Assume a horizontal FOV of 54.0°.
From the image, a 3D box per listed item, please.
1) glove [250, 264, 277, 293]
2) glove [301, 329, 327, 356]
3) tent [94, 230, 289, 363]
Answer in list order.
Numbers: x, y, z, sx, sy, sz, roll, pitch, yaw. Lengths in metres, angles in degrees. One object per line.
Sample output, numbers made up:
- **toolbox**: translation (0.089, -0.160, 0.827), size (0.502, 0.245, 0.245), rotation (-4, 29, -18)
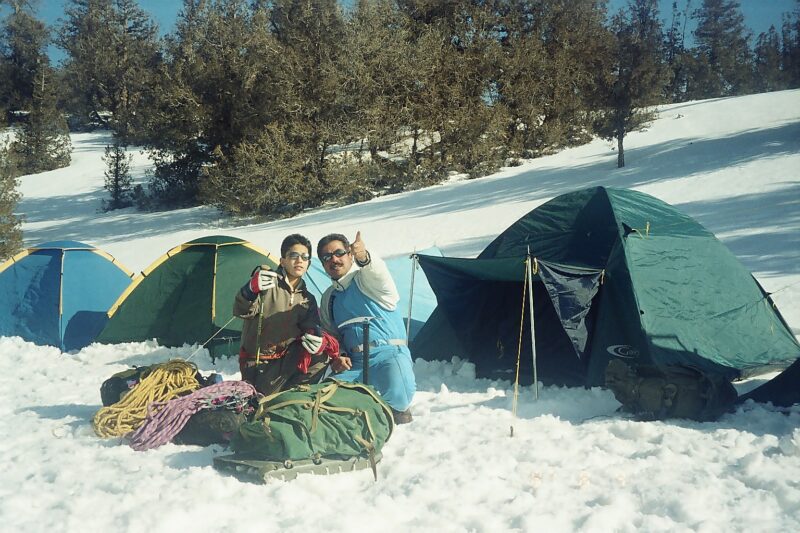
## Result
- **glove**: translation (-1.982, 0.201, 11.388), size (0.417, 0.325, 0.152), rotation (-14, 5, 4)
- **glove**: translation (-1.258, 1.159, 11.558), size (0.336, 0.367, 0.288), rotation (-6, 12, -1)
- **tent**: translation (-3.733, 0.524, 13.798), size (2.359, 1.484, 2.265), rotation (1, -1, -35)
